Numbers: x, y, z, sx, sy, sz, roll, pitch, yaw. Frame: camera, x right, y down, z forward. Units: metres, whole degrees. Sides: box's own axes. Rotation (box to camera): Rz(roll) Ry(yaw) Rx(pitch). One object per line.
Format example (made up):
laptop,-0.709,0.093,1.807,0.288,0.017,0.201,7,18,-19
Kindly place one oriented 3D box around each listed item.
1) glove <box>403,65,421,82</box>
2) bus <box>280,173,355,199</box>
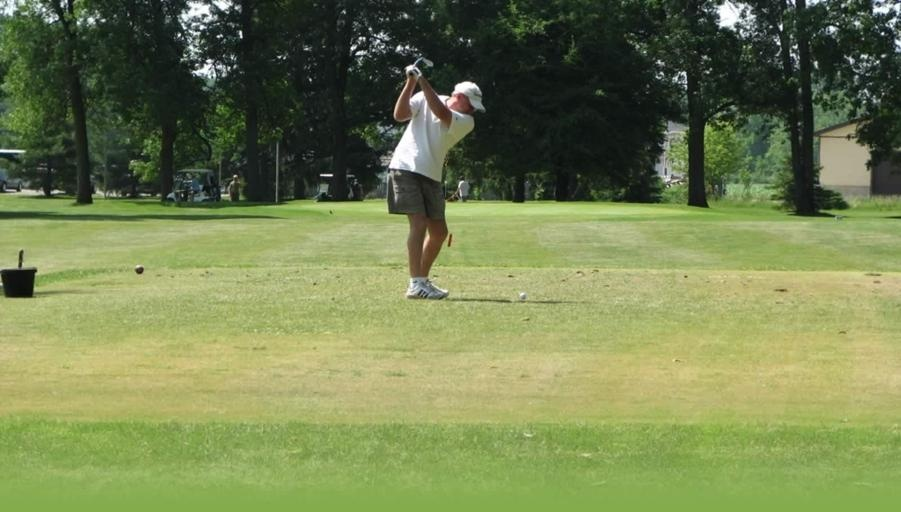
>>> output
glove,-1.443,-7.043,54.912,0.625,0.611,0.745,8,22,16
bus,-10.561,-5.828,119.395,5.451,2.606,2.975,1,3,-2
